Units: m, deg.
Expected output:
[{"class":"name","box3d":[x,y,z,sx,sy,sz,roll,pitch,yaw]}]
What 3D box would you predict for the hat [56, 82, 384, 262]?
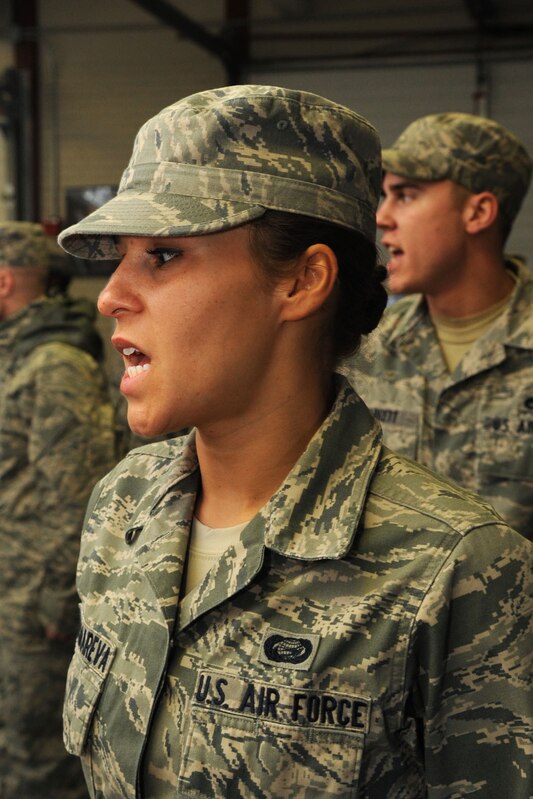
[{"class":"hat","box3d":[-0.059,-0.309,1.214,0.455,0.184,0.308,-6,12,-29]}]
